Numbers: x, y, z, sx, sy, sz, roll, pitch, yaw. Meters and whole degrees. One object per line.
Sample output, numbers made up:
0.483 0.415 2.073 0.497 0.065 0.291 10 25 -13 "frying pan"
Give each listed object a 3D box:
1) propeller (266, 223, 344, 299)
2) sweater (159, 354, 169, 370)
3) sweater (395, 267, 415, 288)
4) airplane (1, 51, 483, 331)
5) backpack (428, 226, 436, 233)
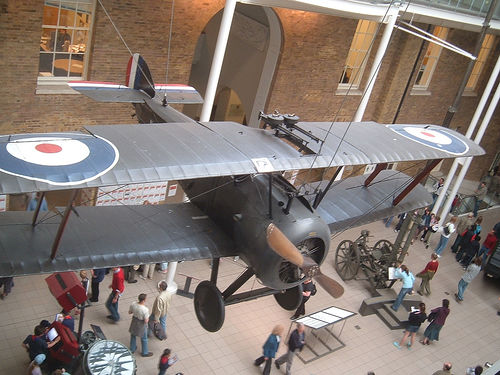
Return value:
0.922 1.328 6.097 1.578 1.611 0.346 -1 28 -21 "propeller"
-1.861 3.829 7.837 0.227 0.361 0.278 12 36 -11 "sweater"
4.793 2.856 11.333 0.526 0.638 0.351 -34 2 -34 "sweater"
-0.043 0.229 9.384 9.709 3.365 7.757 -9 41 -34 "airplane"
7.661 1.765 15.159 0.070 0.293 0.299 -43 43 -10 "backpack"
